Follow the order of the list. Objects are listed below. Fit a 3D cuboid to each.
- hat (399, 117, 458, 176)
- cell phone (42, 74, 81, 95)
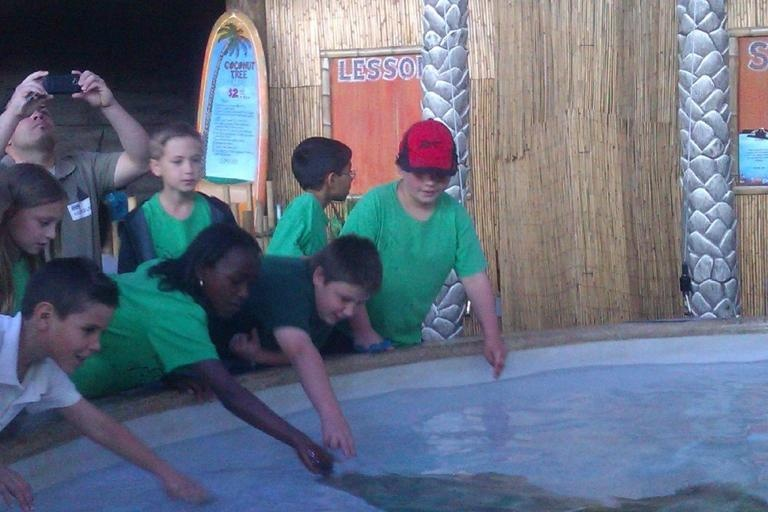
[{"bbox_3d":[0.222,-0.528,4.398,0.213,0.179,0.305,3,12,-4],"label":"hat"},{"bbox_3d":[-1.595,-0.856,4.501,0.184,0.081,0.096,-10,6,-25],"label":"cell phone"}]
